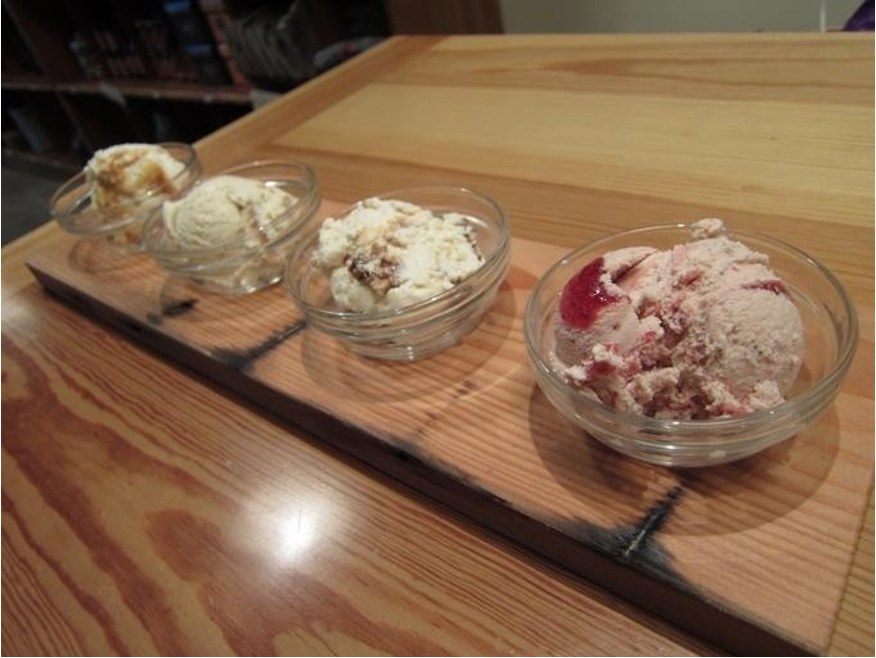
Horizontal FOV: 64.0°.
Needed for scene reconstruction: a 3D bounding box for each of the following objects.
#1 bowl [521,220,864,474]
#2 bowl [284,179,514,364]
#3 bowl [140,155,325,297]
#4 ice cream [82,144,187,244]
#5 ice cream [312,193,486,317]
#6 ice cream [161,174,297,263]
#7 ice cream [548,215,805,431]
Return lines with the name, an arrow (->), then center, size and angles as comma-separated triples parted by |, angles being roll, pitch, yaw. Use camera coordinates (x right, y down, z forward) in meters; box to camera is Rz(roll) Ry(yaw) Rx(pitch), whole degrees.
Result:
bowl -> 0.230, 0.044, 0.834 | 0.420, 0.169, 0.328 | -1, 35, 13
bowl -> -0.061, -0.109, 1.002 | 0.292, 0.120, 0.204 | 9, 71, -3
bowl -> -0.267, -0.153, 1.227 | 0.331, 0.135, 0.265 | -8, 35, 22
ice cream -> -0.542, -0.259, 1.349 | 0.239, 0.124, 0.197 | 2, 40, -8
ice cream -> -0.056, -0.103, 0.968 | 0.242, 0.062, 0.164 | -2, 37, -2
ice cream -> -0.361, -0.180, 1.169 | 0.200, 0.064, 0.178 | 17, 40, 39
ice cream -> 0.275, 0.007, 0.831 | 0.319, 0.124, 0.258 | 18, 57, 19
